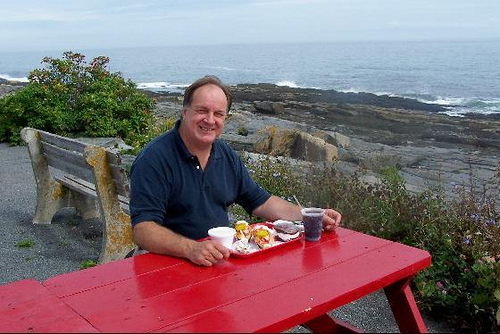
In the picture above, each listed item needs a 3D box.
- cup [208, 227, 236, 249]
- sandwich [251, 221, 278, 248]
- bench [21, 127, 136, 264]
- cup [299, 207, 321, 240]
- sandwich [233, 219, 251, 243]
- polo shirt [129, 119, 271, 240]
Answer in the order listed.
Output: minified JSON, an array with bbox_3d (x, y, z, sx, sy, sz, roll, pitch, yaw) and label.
[{"bbox_3d":[-0.200,0.470,2.496,0.155,0.092,0.149,-1,15,0],"label":"cup"},{"bbox_3d":[0.097,0.483,2.621,0.179,0.107,0.255,11,28,10],"label":"sandwich"},{"bbox_3d":[-2.615,0.490,5.239,1.165,1.221,2.145,-7,16,-44],"label":"bench"},{"bbox_3d":[0.472,0.411,2.694,0.219,0.213,0.214,-1,5,0],"label":"cup"},{"bbox_3d":[-0.059,0.472,2.633,0.127,0.060,0.138,0,54,-5],"label":"sandwich"},{"bbox_3d":[-0.483,0.132,2.999,1.140,0.884,0.464,-13,24,-31],"label":"polo shirt"}]
